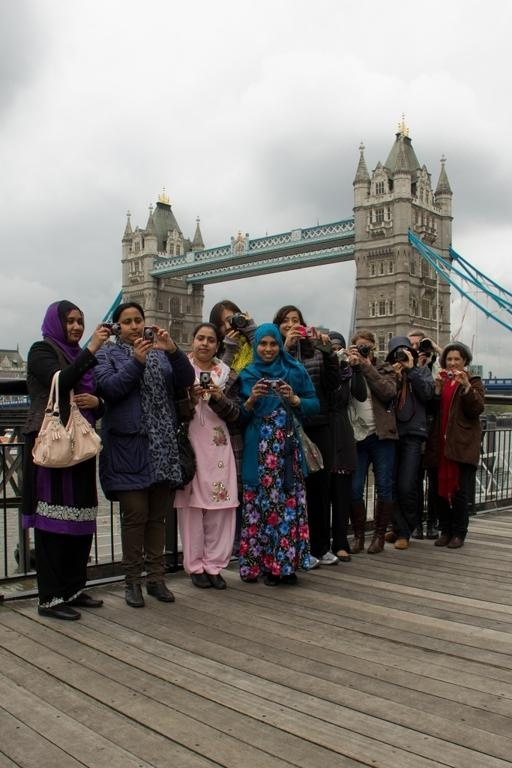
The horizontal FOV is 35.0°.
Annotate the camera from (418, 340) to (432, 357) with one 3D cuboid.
[{"bbox_3d":[1.130,-0.241,5.399,0.087,0.108,0.042,-3,7,-31],"label":"camera"}]

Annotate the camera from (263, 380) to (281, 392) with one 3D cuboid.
[{"bbox_3d":[0.079,0.006,4.048,0.087,0.038,0.042,2,1,-1],"label":"camera"}]

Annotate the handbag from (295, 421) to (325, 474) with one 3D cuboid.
[{"bbox_3d":[0.250,0.335,4.292,0.175,0.289,0.137,-7,-5,-14],"label":"handbag"}]

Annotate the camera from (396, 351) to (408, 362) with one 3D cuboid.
[{"bbox_3d":[0.936,-0.180,5.172,0.065,0.058,0.065,-35,-2,17],"label":"camera"}]

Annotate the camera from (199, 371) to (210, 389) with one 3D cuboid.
[{"bbox_3d":[-0.246,-0.020,3.918,0.054,0.053,0.079,2,1,-5],"label":"camera"}]

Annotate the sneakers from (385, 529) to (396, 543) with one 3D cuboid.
[{"bbox_3d":[0.919,1.031,5.520,0.048,0.050,0.135,3,1,8],"label":"sneakers"}]

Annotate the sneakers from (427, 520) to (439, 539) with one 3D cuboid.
[{"bbox_3d":[1.230,1.026,5.649,0.052,0.097,0.151,2,5,21],"label":"sneakers"}]

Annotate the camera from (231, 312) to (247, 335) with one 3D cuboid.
[{"bbox_3d":[-0.088,-0.336,4.417,0.102,0.092,0.104,-1,-2,-36],"label":"camera"}]

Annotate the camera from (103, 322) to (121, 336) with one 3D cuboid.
[{"bbox_3d":[-0.634,-0.243,3.591,0.069,0.046,0.026,-2,18,-36],"label":"camera"}]

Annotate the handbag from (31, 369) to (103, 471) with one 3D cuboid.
[{"bbox_3d":[-0.796,0.147,3.413,0.174,0.394,0.266,3,1,29],"label":"handbag"}]

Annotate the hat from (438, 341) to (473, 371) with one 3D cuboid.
[{"bbox_3d":[1.377,-0.182,5.466,0.230,0.251,0.289,3,-4,16],"label":"hat"}]

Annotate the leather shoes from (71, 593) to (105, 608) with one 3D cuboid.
[{"bbox_3d":[-0.768,0.988,3.710,0.151,0.056,0.056,0,-3,9],"label":"leather shoes"}]

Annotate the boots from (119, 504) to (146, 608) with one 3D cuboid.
[{"bbox_3d":[-0.568,0.749,3.728,0.128,0.516,0.191,2,1,-9],"label":"boots"}]

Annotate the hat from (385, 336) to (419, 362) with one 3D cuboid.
[{"bbox_3d":[0.974,-0.264,5.414,0.206,0.168,0.160,-10,-22,-3],"label":"hat"}]

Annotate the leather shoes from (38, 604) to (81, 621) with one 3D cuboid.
[{"bbox_3d":[-0.844,0.986,3.482,0.179,0.058,0.066,-2,-3,24],"label":"leather shoes"}]
